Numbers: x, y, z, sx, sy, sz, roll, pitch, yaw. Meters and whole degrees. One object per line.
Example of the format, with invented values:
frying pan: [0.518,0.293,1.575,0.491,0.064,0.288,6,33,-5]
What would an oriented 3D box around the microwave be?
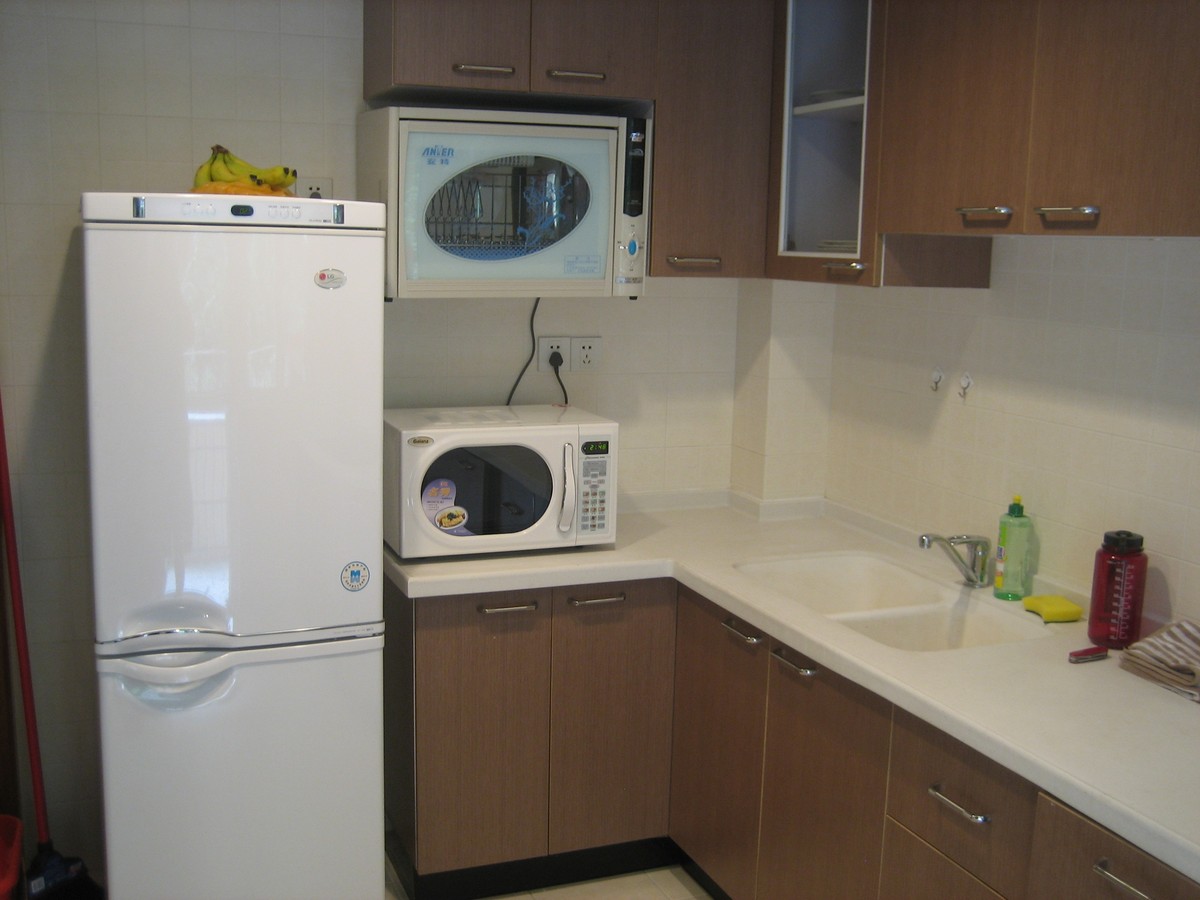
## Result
microwave: [-0.277,0.103,2.747,0.544,0.376,0.416,-3,10,-20]

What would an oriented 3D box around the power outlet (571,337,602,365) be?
power outlet: [-0.052,-0.339,3.246,0.087,0.096,0.009,-1,9,-20]

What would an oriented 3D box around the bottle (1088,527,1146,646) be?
bottle: [1.197,0.319,2.220,0.108,0.258,0.147,7,13,31]

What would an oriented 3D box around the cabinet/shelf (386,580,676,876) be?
cabinet/shelf: [-0.253,0.803,3.030,0.833,0.890,0.548,1,-1,-27]

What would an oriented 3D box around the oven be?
oven: [-0.148,-0.663,2.832,0.778,0.531,0.438,3,0,20]
